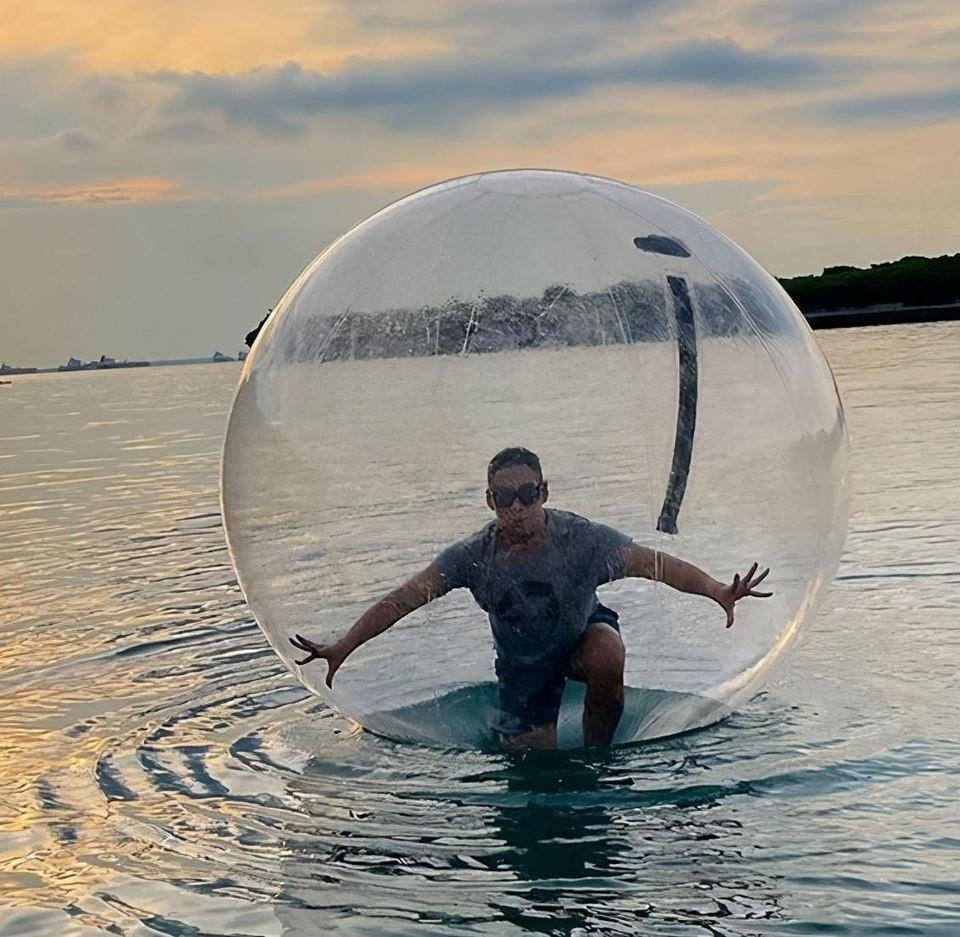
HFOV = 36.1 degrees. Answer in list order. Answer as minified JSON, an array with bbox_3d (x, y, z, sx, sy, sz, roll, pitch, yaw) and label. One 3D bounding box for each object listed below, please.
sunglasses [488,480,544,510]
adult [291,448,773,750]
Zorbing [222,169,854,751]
[{"bbox_3d":[0.134,0.096,5.119,0.179,0.087,0.018,-3,12,3],"label":"sunglasses"},{"bbox_3d":[0.258,0.627,5.349,2.085,1.230,0.645,-13,-19,30],"label":"adult"},{"bbox_3d":[0.360,0.059,6.198,2.938,1.986,2.340,-1,2,10],"label":"Zorbing"}]
